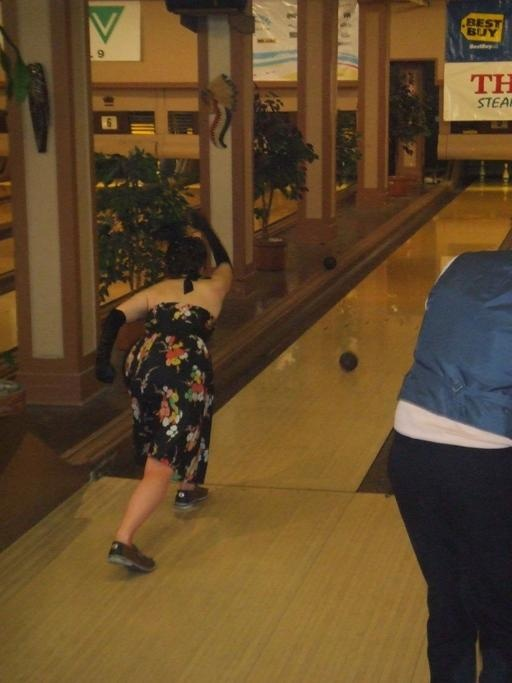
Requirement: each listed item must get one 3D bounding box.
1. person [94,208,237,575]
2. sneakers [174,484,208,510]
[{"bbox_3d":[-0.372,0.155,2.397,0.386,1.456,0.881,0,9,15],"label":"person"},{"bbox_3d":[-0.314,0.768,2.774,0.072,0.072,0.194,6,12,24],"label":"sneakers"}]
